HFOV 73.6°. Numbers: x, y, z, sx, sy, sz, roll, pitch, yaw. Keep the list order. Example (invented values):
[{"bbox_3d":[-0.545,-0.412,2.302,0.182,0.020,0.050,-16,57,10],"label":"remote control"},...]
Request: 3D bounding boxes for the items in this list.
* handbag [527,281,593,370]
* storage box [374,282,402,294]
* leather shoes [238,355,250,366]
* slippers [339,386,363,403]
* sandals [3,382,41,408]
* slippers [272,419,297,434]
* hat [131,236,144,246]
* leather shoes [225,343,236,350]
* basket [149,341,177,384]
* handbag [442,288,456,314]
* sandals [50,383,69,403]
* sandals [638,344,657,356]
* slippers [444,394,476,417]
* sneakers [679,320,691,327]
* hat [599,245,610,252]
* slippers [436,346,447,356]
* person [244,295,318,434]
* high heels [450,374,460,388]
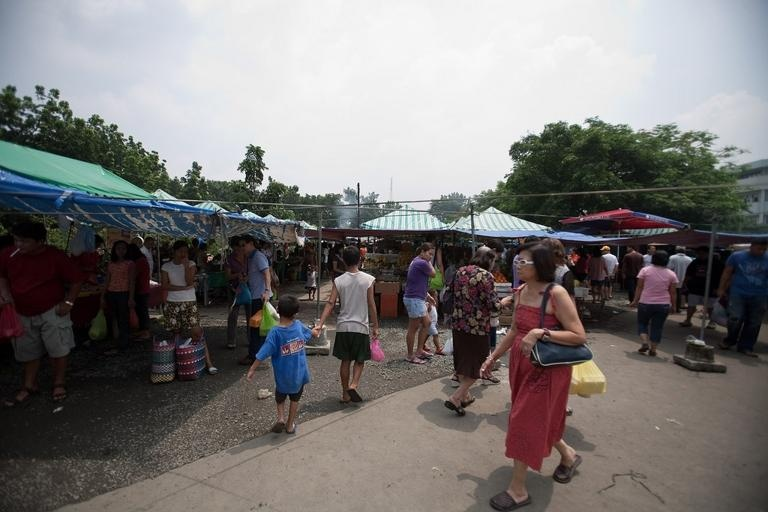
[{"bbox_3d":[2.068,0.815,6.062,0.735,0.965,0.228,-1,3,-10],"label":"handbag"},{"bbox_3d":[0.116,0.815,13.343,0.482,0.218,0.336,1,4,6],"label":"storage box"},{"bbox_3d":[-2.505,1.873,9.225,0.257,0.115,0.097,0,-2,13],"label":"leather shoes"},{"bbox_3d":[-0.498,2.126,7.897,0.338,0.267,0.179,-1,2,-4],"label":"slippers"},{"bbox_3d":[-5.480,2.110,7.842,0.180,0.214,0.542,-3,-7,11],"label":"sandals"},{"bbox_3d":[-1.392,2.362,7.165,0.345,0.198,0.182,-2,2,-13],"label":"slippers"},{"bbox_3d":[-5.578,-0.346,11.630,0.365,0.086,0.367,-11,-14,43],"label":"hat"},{"bbox_3d":[-2.996,1.757,10.031,0.151,0.101,0.083,-5,-4,26],"label":"leather shoes"},{"bbox_3d":[-3.585,1.683,8.570,0.538,0.784,0.500,1,-8,-20],"label":"basket"},{"bbox_3d":[1.061,0.727,8.267,0.246,0.601,0.480,4,-4,9],"label":"handbag"},{"bbox_3d":[-4.935,2.063,7.806,0.187,0.231,0.254,-2,3,-33],"label":"sandals"},{"bbox_3d":[5.171,1.829,10.041,0.180,0.143,0.345,-16,-23,18],"label":"sandals"},{"bbox_3d":[1.120,2.203,7.570,0.227,0.191,0.571,-20,-24,16],"label":"slippers"},{"bbox_3d":[7.393,1.640,12.505,0.298,0.125,0.146,3,-5,-35],"label":"sneakers"},{"bbox_3d":[7.250,-0.259,16.845,0.210,0.063,0.209,-34,28,-29],"label":"hat"},{"bbox_3d":[1.084,1.840,9.858,0.137,0.138,0.350,2,3,8],"label":"slippers"},{"bbox_3d":[-1.401,1.506,7.283,0.555,1.890,0.942,0,3,30],"label":"person"},{"bbox_3d":[1.198,2.078,8.579,0.125,0.145,0.340,-1,-5,8],"label":"high heels"}]
